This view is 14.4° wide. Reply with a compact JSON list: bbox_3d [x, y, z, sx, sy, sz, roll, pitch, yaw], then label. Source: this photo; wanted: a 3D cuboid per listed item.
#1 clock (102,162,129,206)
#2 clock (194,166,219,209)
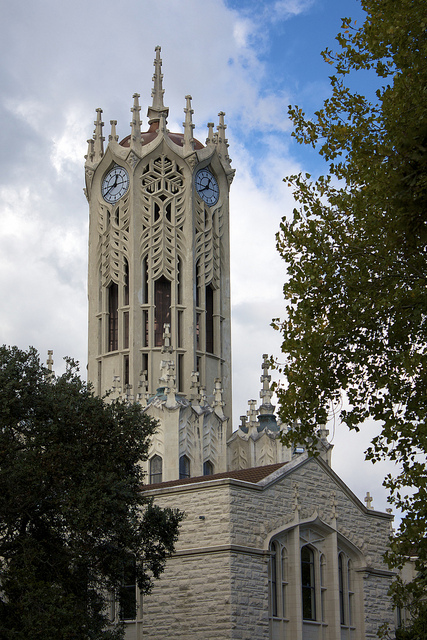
[{"bbox_3d":[-3.583,-4.850,60.490,0.217,1.641,1.127,24,-33,-34],"label":"clock"},{"bbox_3d":[-0.319,-4.808,61.133,1.221,1.315,0.091,2,-17,-41],"label":"clock"}]
